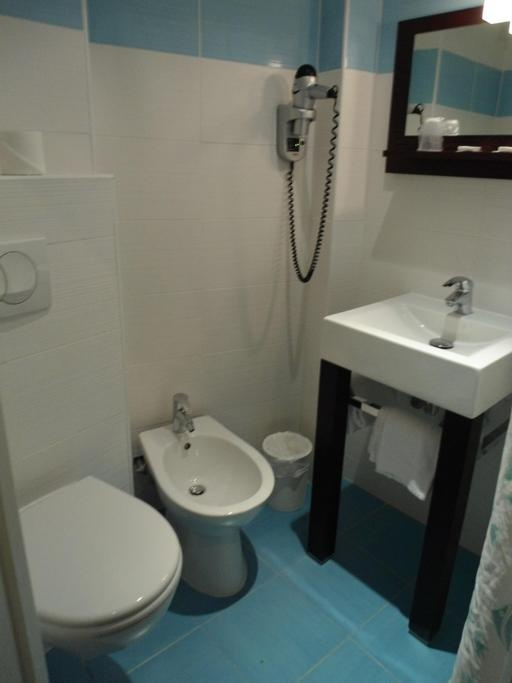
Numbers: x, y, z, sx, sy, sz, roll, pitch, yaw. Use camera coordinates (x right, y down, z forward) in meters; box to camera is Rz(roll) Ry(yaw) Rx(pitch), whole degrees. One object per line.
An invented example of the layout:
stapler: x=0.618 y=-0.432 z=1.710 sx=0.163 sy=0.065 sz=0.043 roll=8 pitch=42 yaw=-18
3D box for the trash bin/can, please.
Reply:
trash bin/can: x=0.118 y=0.497 z=2.130 sx=0.230 sy=0.279 sz=0.251 roll=-14 pitch=26 yaw=-38

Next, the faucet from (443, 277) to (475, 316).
faucet: x=0.635 y=-0.137 z=1.562 sx=0.105 sy=0.118 sz=0.051 roll=-29 pitch=30 yaw=-23

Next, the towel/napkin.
towel/napkin: x=0.434 y=0.317 z=1.466 sx=0.082 sy=0.257 sz=0.224 roll=5 pitch=11 yaw=-42

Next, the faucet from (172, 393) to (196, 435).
faucet: x=-0.262 y=0.241 z=1.818 sx=0.062 sy=0.158 sz=0.141 roll=-11 pitch=28 yaw=-24
